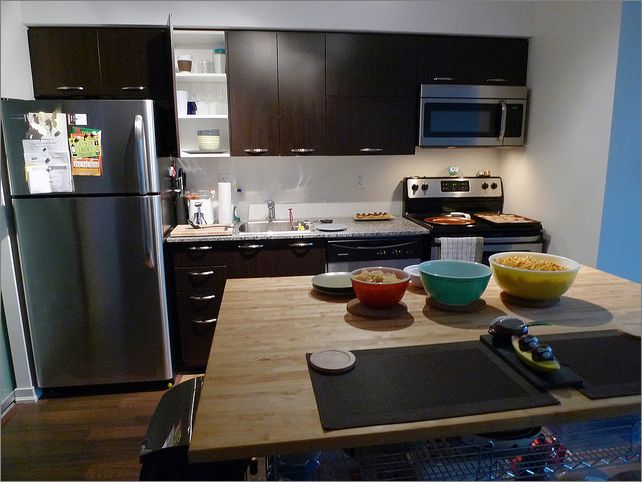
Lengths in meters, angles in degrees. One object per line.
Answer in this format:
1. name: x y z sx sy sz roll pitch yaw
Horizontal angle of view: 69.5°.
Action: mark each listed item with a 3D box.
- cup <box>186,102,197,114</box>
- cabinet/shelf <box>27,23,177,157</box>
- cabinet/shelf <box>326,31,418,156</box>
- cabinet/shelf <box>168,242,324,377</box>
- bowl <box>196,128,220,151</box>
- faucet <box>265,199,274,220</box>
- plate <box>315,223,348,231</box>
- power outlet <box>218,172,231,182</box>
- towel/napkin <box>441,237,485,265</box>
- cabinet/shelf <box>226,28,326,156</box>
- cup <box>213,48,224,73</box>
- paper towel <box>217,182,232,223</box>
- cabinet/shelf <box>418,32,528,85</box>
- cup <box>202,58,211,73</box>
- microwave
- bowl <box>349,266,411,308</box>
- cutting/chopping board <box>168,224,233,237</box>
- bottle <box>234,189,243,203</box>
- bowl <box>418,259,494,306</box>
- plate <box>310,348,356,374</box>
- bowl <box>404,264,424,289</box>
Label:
1. cup: -1.058 -1.090 3.779 0.081 0.102 0.042 -7 16 -11
2. cabinet/shelf: -1.671 -1.118 3.799 1.182 1.130 0.415 3 15 9
3. cabinet/shelf: 0.395 -1.144 4.038 0.794 0.982 0.544 -1 -10 -7
4. cabinet/shelf: -0.579 0.365 3.904 1.308 0.524 1.085 -10 14 -8
5. bowl: -0.913 -0.823 3.768 0.174 0.141 0.174 0 6 0
6. faucet: -0.443 -0.271 4.086 0.083 0.177 0.135 -6 15 -6
7. plate: 0.082 -0.115 3.752 0.252 0.032 0.265 -4 15 3
8. power outlet: -0.847 -0.563 4.042 0.078 0.066 0.018 -1 8 -11
9. towel/napkin: 1.026 0.061 3.389 0.211 0.155 0.030 1 9 -4
10. cabinet/shelf: -0.380 -1.221 3.671 0.919 1.068 0.351 -2 9 -9
11. cup: -0.820 -1.447 3.724 0.130 0.180 0.057 1 16 20
12. paper towel: -0.810 -0.323 3.889 0.135 0.335 0.279 -7 16 -11
13. cabinet/shelf: 1.268 -1.485 4.068 0.917 0.447 0.496 2 -5 2
14. cup: -0.927 -1.424 3.763 0.043 0.096 0.111 8 19 38
15. microwave: 1.274 -1.062 3.892 0.872 0.533 0.544 0 12 -6
16. bowl: 0.252 0.225 2.058 0.256 0.132 0.257 -4 8 1
17. cutting/chopping board: -0.930 -0.089 3.636 0.467 0.050 0.421 -7 15 -11
18. bottle: -0.708 -0.402 4.052 0.073 0.136 0.106 -12 17 -26
19. bowl: 0.582 0.141 2.042 0.237 0.122 0.238 0 6 0
20. plate: 0.037 0.434 1.663 0.164 0.039 0.120 -6 15 -6
21. bowl: 0.458 0.166 2.265 0.110 0.050 0.112 0 14 0
